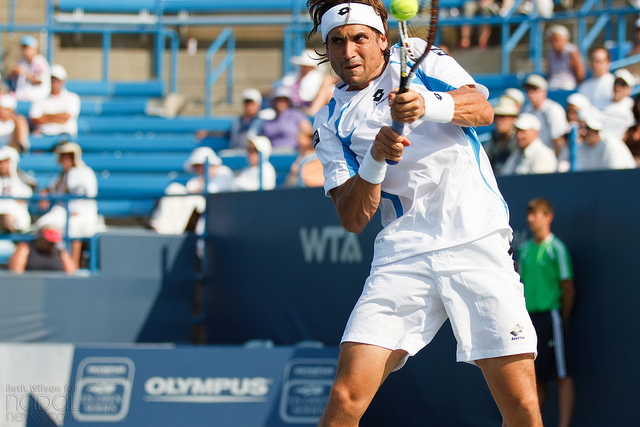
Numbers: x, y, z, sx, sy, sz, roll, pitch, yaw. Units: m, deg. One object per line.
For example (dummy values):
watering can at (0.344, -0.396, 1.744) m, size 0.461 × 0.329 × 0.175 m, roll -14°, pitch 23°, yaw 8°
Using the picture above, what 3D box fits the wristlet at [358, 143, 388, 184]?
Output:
wristlet at (0.471, -0.427, 9.762) m, size 0.178 × 0.290 × 0.206 m, roll -12°, pitch 42°, yaw -46°

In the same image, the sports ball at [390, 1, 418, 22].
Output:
sports ball at (0.715, -1.723, 9.568) m, size 0.167 × 0.173 × 0.174 m, roll -1°, pitch 58°, yaw 1°

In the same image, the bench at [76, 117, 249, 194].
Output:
bench at (-2.666, -0.949, 17.043) m, size 2.627 × 1.304 × 1.165 m, roll 0°, pitch 1°, yaw -3°

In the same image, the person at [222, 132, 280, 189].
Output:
person at (-0.885, -0.652, 14.683) m, size 0.724 × 0.686 × 1.360 m, roll 1°, pitch 6°, yaw -3°

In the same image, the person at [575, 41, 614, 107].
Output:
person at (3.397, -1.687, 13.923) m, size 0.433 × 0.718 × 1.265 m, roll 3°, pitch 7°, yaw 13°

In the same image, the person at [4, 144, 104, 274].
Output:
person at (-3.241, -0.060, 14.439) m, size 1.004 × 1.598 × 1.025 m, roll 5°, pitch 8°, yaw 33°

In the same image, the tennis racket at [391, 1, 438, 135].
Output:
tennis racket at (0.810, -1.490, 9.625) m, size 0.331 × 1.208 × 0.095 m, roll 1°, pitch 10°, yaw -42°

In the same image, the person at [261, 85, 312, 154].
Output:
person at (-0.482, -1.307, 15.902) m, size 0.553 × 0.804 × 1.087 m, roll 11°, pitch 52°, yaw 4°

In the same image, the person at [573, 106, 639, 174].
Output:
person at (3.148, -0.798, 12.461) m, size 0.667 × 0.701 × 0.899 m, roll 4°, pitch 7°, yaw 25°

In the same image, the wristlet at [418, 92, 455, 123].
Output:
wristlet at (1.022, -0.922, 9.662) m, size 0.190 × 0.228 × 0.290 m, roll -8°, pitch -22°, yaw 10°
